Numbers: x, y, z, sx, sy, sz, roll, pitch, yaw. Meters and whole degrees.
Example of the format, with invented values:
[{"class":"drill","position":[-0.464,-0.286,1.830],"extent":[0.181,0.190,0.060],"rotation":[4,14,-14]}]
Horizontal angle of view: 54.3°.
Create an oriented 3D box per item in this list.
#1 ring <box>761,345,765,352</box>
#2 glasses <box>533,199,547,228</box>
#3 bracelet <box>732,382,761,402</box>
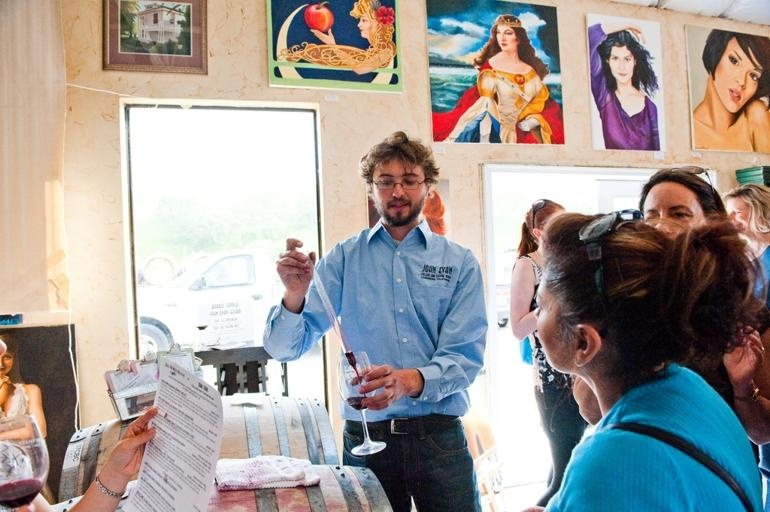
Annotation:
[{"class":"ring","position":[1.725,0.421,3.435],"extent":[0.009,0.030,0.008],"rotation":[-2,1,1]},{"class":"glasses","position":[0.999,-0.294,4.901],"extent":[0.048,0.154,0.139],"rotation":[1,5,43]},{"class":"bracelet","position":[1.674,0.623,3.467],"extent":[0.084,0.052,0.111],"rotation":[-10,-9,21]}]
